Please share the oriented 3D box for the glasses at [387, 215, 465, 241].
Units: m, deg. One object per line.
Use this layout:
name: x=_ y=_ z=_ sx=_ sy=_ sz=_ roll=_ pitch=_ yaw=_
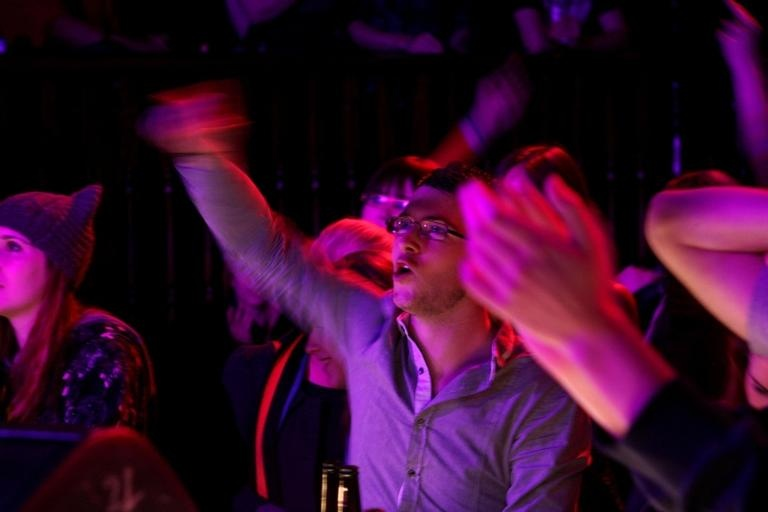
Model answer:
glasses: x=0.189 y=-0.130 z=3.690 sx=0.354 sy=0.102 sz=0.105 roll=3 pitch=3 yaw=3
